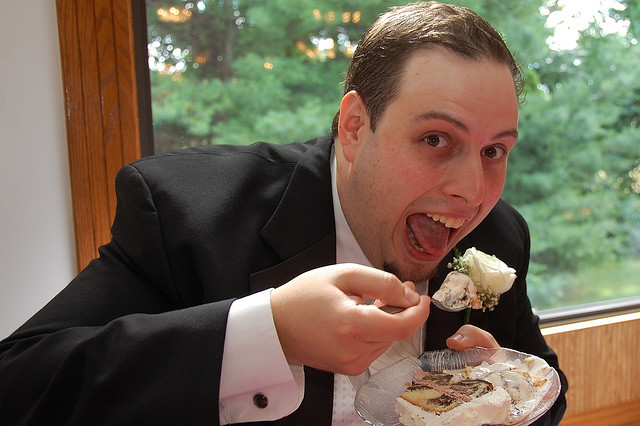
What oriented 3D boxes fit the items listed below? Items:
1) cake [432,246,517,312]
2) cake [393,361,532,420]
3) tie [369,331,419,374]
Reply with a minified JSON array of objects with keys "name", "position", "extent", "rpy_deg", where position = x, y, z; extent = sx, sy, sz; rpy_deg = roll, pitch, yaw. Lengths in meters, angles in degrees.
[{"name":"cake","position":[0.542,0.261,1.979],"extent":[0.327,0.247,0.147],"rpy_deg":[-8,8,-10]},{"name":"cake","position":[0.479,0.620,1.813],"extent":[0.480,0.119,0.245],"rpy_deg":[-7,7,-10]},{"name":"tie","position":[0.250,0.496,1.866],"extent":[0.263,0.064,0.034],"rpy_deg":[-21,6,-42]}]
